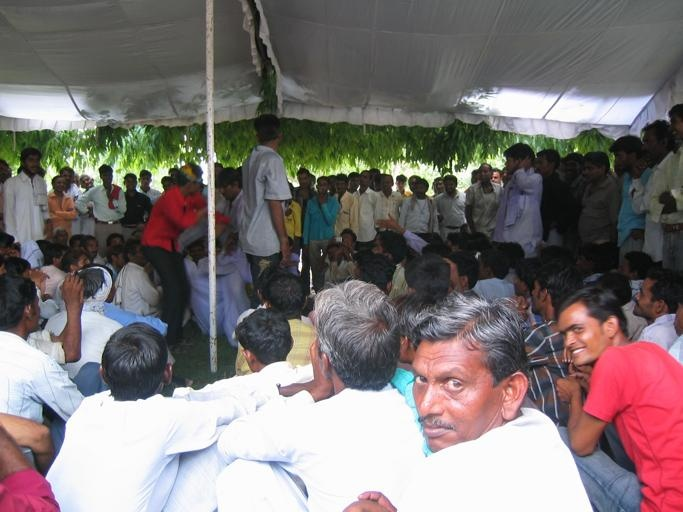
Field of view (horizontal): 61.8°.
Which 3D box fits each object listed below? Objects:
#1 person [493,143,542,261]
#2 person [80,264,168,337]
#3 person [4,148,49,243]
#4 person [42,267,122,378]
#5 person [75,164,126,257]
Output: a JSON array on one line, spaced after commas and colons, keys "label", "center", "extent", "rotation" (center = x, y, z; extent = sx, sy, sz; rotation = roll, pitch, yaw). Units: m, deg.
[{"label": "person", "center": [2.219, -0.709, 7.149], "extent": [0.559, 1.392, 0.458], "rotation": [6, 11, 31]}, {"label": "person", "center": [-1.926, 0.389, 5.049], "extent": [0.577, 0.403, 1.121], "rotation": [19, -2, 13]}, {"label": "person", "center": [-4.535, -0.876, 8.155], "extent": [0.571, 1.335, 0.675], "rotation": [-5, 11, -29]}, {"label": "person", "center": [-1.893, 0.497, 4.149], "extent": [0.445, 0.554, 0.966], "rotation": [9, -18, -17]}, {"label": "person", "center": [-4.065, -0.529, 9.661], "extent": [0.650, 2.004, 0.375], "rotation": [-4, 10, -32]}]
